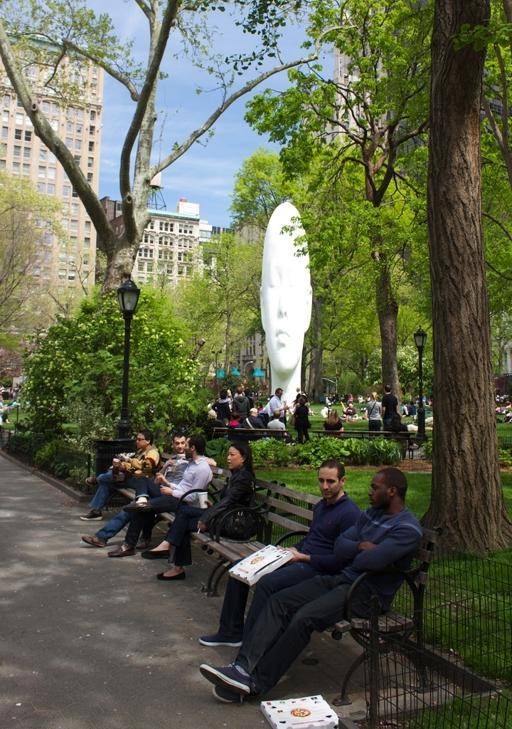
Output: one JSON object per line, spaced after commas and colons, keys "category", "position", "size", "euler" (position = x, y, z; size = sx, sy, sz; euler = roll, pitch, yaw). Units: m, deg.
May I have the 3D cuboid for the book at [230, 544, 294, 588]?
{"category": "book", "position": [0.033, 1.274, 4.346], "size": [0.296, 0.072, 0.292], "euler": [-21, 3, -38]}

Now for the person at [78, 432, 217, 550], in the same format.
{"category": "person", "position": [-1.142, 1.514, 7.810], "size": [1.301, 1.384, 0.731], "euler": [8, -4, -35]}

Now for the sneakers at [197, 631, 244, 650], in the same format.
{"category": "sneakers", "position": [-0.237, 1.868, 4.697], "size": [0.327, 0.142, 0.113], "euler": [3, -6, 8]}

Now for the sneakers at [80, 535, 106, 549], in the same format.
{"category": "sneakers", "position": [-1.842, 2.064, 7.927], "size": [0.318, 0.143, 0.137], "euler": [19, -12, -4]}

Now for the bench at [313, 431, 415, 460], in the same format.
{"category": "bench", "position": [2.229, 2.055, 16.111], "size": [2.546, 0.645, 1.259], "euler": [3, -7, -14]}

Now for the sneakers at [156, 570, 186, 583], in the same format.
{"category": "sneakers", "position": [-0.813, 2.034, 6.541], "size": [0.212, 0.085, 0.102], "euler": [6, -10, -3]}

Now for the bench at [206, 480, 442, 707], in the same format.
{"category": "bench", "position": [0.332, 1.240, 4.032], "size": [1.187, 1.379, 0.565], "euler": [12, -6, -31]}

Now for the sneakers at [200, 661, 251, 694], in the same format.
{"category": "sneakers", "position": [-0.161, 1.712, 3.716], "size": [0.270, 0.168, 0.142], "euler": [1, -7, 0]}

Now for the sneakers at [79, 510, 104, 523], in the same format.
{"category": "sneakers", "position": [-2.333, 2.156, 9.637], "size": [0.362, 0.176, 0.123], "euler": [8, -8, -23]}

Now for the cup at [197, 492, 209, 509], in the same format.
{"category": "cup", "position": [-0.531, 1.412, 7.035], "size": [0.134, 0.186, 0.135], "euler": [-1, -10, 0]}

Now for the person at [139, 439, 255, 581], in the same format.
{"category": "person", "position": [-0.464, 1.435, 6.848], "size": [1.245, 1.595, 1.189], "euler": [3, -5, -3]}

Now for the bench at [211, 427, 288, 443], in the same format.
{"category": "bench", "position": [-0.325, 1.969, 18.110], "size": [1.452, 0.467, 0.574], "euler": [5, -24, -18]}

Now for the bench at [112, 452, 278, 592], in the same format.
{"category": "bench", "position": [-0.494, 1.341, 6.264], "size": [1.063, 1.137, 0.511], "euler": [-1, 6, -29]}

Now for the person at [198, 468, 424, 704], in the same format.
{"category": "person", "position": [0.375, 1.249, 3.882], "size": [1.061, 1.306, 0.756], "euler": [7, -9, -40]}

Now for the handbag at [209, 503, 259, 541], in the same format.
{"category": "handbag", "position": [-0.188, 1.413, 6.099], "size": [0.389, 0.367, 0.280], "euler": [0, 8, 6]}

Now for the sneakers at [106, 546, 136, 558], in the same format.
{"category": "sneakers", "position": [-1.474, 2.080, 7.555], "size": [0.259, 0.102, 0.116], "euler": [7, -10, -24]}
